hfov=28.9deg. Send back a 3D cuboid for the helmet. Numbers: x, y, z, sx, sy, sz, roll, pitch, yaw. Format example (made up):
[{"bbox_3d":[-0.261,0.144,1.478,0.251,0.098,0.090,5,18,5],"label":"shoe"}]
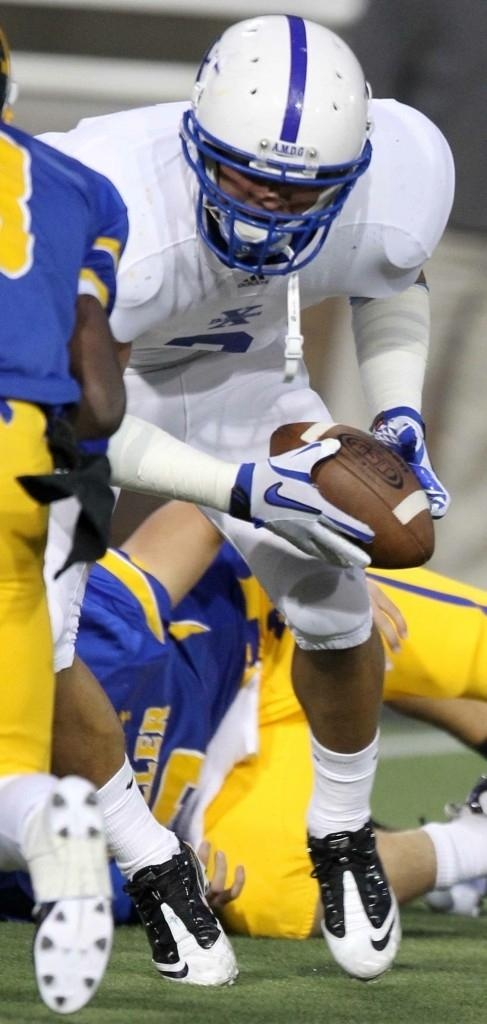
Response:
[{"bbox_3d":[0.036,-0.354,0.948,0.195,0.212,0.192,-4,43,-1],"label":"helmet"}]

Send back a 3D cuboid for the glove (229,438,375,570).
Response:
[{"bbox_3d":[0.050,-0.003,0.914,0.129,0.039,0.113,34,75,0],"label":"glove"}]

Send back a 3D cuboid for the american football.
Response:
[{"bbox_3d":[0.095,-0.015,0.931,0.163,0.100,0.109,42,29,9],"label":"american football"}]

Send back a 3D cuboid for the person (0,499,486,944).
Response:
[{"bbox_3d":[0.005,0.290,1.312,0.723,0.443,0.386,25,53,8],"label":"person"}]

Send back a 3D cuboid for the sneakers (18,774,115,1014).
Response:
[{"bbox_3d":[-0.107,0.215,0.566,0.046,0.055,0.139,1,78,-14],"label":"sneakers"}]

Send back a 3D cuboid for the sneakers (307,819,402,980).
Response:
[{"bbox_3d":[0.124,0.419,1.063,0.059,0.076,0.177,-14,44,10],"label":"sneakers"}]
